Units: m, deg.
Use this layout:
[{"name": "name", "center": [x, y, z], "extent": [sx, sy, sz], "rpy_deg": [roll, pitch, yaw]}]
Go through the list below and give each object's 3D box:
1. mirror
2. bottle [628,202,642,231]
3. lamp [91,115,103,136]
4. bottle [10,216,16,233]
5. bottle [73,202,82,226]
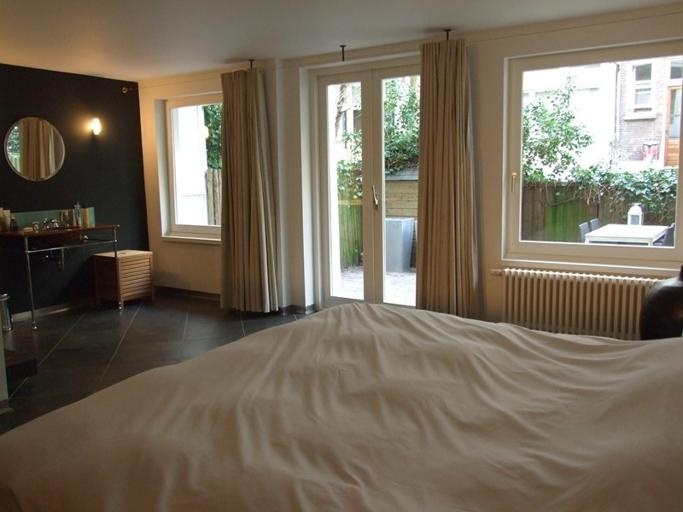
[{"name": "mirror", "center": [-3.433, -1.194, 5.386], "extent": [0.061, 0.984, 0.744], "rpy_deg": [0, 0, 28]}, {"name": "bottle", "center": [2.462, -0.345, 4.152], "extent": [0.143, 0.291, 0.149], "rpy_deg": [2, 5, 0]}, {"name": "lamp", "center": [-2.996, -1.590, 5.947], "extent": [0.075, 0.218, 0.169], "rpy_deg": [4, 8, 25]}, {"name": "bottle", "center": [-3.472, -0.330, 5.127], "extent": [0.054, 0.125, 0.041], "rpy_deg": [2, 8, 13]}, {"name": "bottle", "center": [-3.099, -0.494, 5.686], "extent": [0.084, 0.267, 0.314], "rpy_deg": [-4, 9, -30]}]
